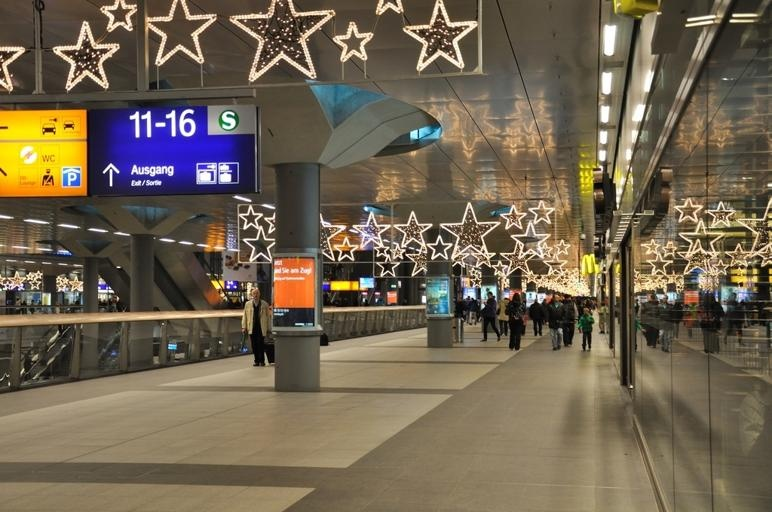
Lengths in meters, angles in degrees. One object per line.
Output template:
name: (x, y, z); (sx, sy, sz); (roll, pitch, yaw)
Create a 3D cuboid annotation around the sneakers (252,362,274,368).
sneakers: (-3.363, 2.983, 17.521); (0.584, 0.242, 0.179); (5, -11, -5)
